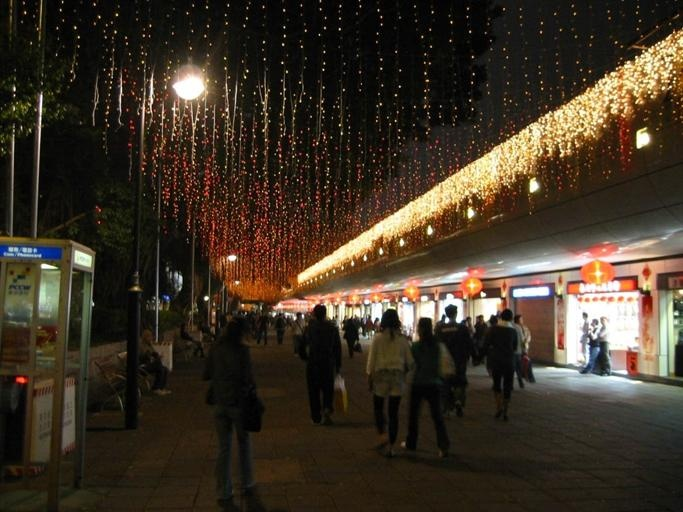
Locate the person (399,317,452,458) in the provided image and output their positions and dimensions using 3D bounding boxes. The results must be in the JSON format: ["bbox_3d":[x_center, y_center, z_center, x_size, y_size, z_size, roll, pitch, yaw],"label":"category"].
[{"bbox_3d":[1.433,2.119,10.786,0.772,2.196,1.088,0,-1,8],"label":"person"}]

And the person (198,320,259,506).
[{"bbox_3d":[-1.475,2.058,8.841,0.791,2.457,0.465,1,-1,-14],"label":"person"}]

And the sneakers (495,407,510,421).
[{"bbox_3d":[3.198,3.195,13.045,0.161,0.169,0.360,0,-10,1],"label":"sneakers"}]

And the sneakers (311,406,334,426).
[{"bbox_3d":[-0.411,3.141,12.515,0.180,0.298,0.629,4,-26,-8],"label":"sneakers"}]

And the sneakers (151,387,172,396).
[{"bbox_3d":[-4.268,3.187,15.358,0.408,0.227,0.154,-1,0,-11],"label":"sneakers"}]

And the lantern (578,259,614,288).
[{"bbox_3d":[6.760,0.412,17.132,0.634,0.799,0.661,-5,3,-33],"label":"lantern"}]

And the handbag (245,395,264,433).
[{"bbox_3d":[-1.213,2.192,9.035,0.229,0.650,0.694,1,-1,-7],"label":"handbag"}]

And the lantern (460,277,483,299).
[{"bbox_3d":[5.273,1.300,26.437,0.659,0.923,0.698,9,22,2],"label":"lantern"}]

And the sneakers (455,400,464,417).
[{"bbox_3d":[2.385,3.112,13.301,0.118,0.464,0.173,-1,2,12],"label":"sneakers"}]

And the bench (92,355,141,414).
[{"bbox_3d":[-5.479,2.494,15.873,0.762,1.381,3.343,-4,6,-16],"label":"bench"}]

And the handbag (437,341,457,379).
[{"bbox_3d":[1.663,1.696,10.385,0.301,0.522,0.157,-2,-7,-18],"label":"handbag"}]

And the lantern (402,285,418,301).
[{"bbox_3d":[3.332,1.768,31.313,0.778,1.111,0.789,-3,-1,31],"label":"lantern"}]

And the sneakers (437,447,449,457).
[{"bbox_3d":[1.649,3.149,10.543,0.184,0.149,0.380,0,-1,9],"label":"sneakers"}]
